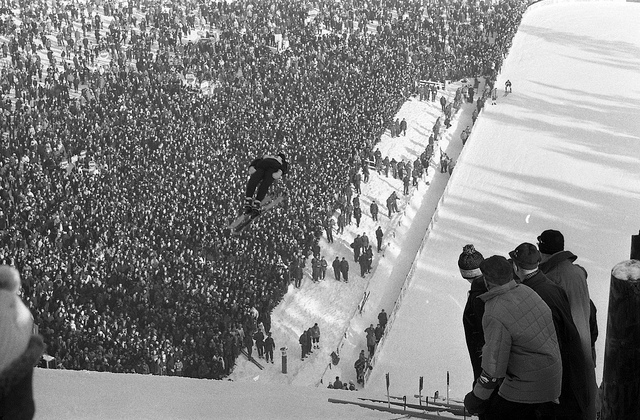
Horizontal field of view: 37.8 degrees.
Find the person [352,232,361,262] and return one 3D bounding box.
[{"bbox_3d":[1.275,1.366,33.424,0.326,0.811,0.512,13,6,1],"label":"person"}]

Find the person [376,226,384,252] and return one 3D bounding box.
[{"bbox_3d":[2.158,1.059,33.778,0.321,0.975,0.324,12,42,23],"label":"person"}]

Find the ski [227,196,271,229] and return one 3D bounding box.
[{"bbox_3d":[-2.285,0.109,30.093,0.270,1.497,0.243,8,47,-44],"label":"ski"}]

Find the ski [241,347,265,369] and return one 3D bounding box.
[{"bbox_3d":[-2.222,4.721,30.249,0.904,0.099,0.050,45,-1,13],"label":"ski"}]

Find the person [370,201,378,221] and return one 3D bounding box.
[{"bbox_3d":[2.020,0.011,35.035,0.354,0.588,0.798,14,6,11],"label":"person"}]

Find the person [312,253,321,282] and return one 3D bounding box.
[{"bbox_3d":[-0.145,2.009,32.809,0.309,0.755,0.330,14,6,7],"label":"person"}]
